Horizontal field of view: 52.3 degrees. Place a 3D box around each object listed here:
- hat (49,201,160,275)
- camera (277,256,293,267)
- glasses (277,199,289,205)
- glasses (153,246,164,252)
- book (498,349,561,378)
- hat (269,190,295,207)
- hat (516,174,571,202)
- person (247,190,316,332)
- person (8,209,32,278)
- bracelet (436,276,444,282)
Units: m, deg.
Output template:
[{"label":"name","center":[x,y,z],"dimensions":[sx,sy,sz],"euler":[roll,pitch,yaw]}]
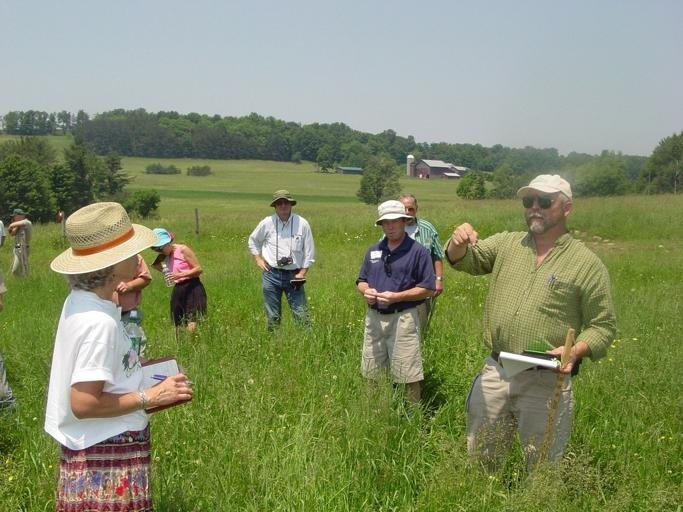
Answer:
[{"label":"hat","center":[-2.080,-0.041,5.924],"dimensions":[0.646,0.380,0.649],"euler":[-15,10,35]},{"label":"camera","center":[-0.878,0.076,10.558],"dimensions":[0.235,0.143,0.091],"euler":[1,11,-13]},{"label":"glasses","center":[-0.921,-0.826,10.718],"dimensions":[0.215,0.101,0.082],"euler":[-1,11,-21]},{"label":"glasses","center":[-2.672,-0.112,10.049],"dimensions":[0.138,0.047,0.098],"euler":[-10,5,-41]},{"label":"book","center":[1.713,0.978,6.512],"dimensions":[0.326,0.170,0.355],"euler":[2,4,7]},{"label":"hat","center":[-0.946,-0.908,10.888],"dimensions":[0.322,0.180,0.476],"euler":[-1,-9,-2]},{"label":"hat","center":[2.097,-0.695,6.984],"dimensions":[0.299,0.191,0.429],"euler":[0,-3,45]},{"label":"person","center":[-0.950,0.048,10.833],"dimensions":[1.010,2.127,1.588],"euler":[2,11,-6]},{"label":"person","center":[-7.870,-0.323,16.938],"dimensions":[0.445,1.617,2.195],"euler":[-2,12,-25]},{"label":"bracelet","center":[1.449,0.335,10.396],"dimensions":[0.090,0.069,0.099],"euler":[2,-6,9]}]
